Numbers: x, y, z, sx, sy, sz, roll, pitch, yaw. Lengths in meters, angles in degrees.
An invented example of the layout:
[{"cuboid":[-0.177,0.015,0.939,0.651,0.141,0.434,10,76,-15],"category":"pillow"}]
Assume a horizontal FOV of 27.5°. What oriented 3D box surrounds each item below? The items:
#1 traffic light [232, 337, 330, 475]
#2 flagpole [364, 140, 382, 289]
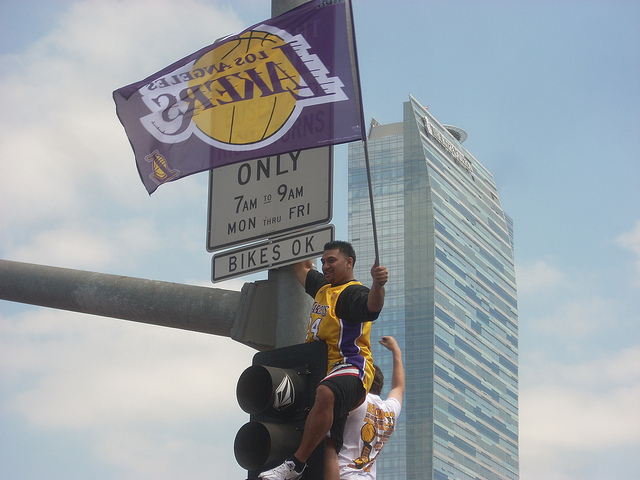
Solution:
[{"cuboid":[-0.327,1.493,11.569,0.869,1.059,0.676,-9,-46,18],"category":"traffic light"},{"cuboid":[0.463,-0.320,11.697,0.107,1.512,0.115,-3,-4,23],"category":"flagpole"}]
